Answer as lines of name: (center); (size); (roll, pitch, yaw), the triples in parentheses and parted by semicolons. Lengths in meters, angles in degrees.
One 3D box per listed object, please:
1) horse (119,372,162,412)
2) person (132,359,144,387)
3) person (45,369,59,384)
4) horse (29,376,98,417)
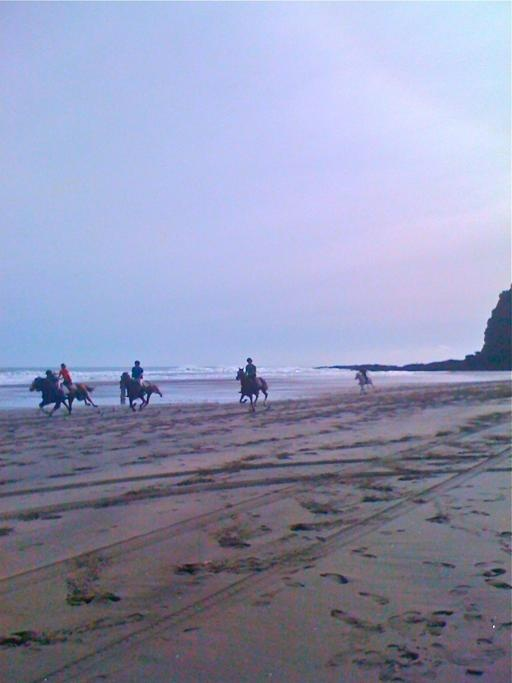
horse: (-4.273, 1.777, 22.399); (1.123, 1.297, 2.764); (-1, -1, -7)
person: (-4.323, 1.155, 22.488); (0.418, 0.810, 1.305); (-1, -1, -12)
person: (-6.761, 1.149, 20.477); (0.400, 0.451, 1.047); (-1, -1, -18)
horse: (-6.648, 1.755, 20.879); (1.447, 1.251, 3.169); (-1, -1, -11)
